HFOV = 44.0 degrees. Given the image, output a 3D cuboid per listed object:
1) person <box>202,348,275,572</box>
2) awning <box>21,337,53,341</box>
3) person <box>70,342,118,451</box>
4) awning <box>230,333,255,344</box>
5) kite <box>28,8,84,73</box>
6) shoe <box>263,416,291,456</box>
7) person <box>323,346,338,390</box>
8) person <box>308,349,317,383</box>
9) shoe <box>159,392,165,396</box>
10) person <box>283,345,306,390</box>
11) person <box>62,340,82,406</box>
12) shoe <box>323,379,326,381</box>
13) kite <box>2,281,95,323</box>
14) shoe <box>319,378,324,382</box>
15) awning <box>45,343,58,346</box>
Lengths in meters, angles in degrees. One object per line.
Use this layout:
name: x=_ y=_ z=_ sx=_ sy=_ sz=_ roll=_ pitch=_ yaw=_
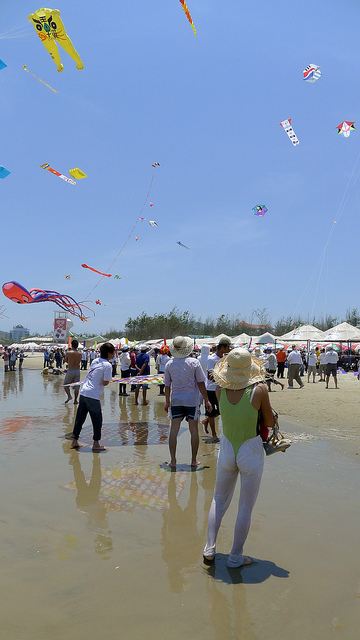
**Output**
person: x=0.419 y=1.002 z=3.247 sx=0.522 sy=1.580 sz=0.295 roll=0 pitch=-2 yaw=23
awning: x=-32.086 y=4.410 z=101.259 sx=5.926 sy=0.668 sz=10.583 roll=2 pitch=-3 yaw=-8
person: x=-1.405 y=1.187 z=7.230 sx=0.669 sy=1.649 sz=1.749 roll=1 pitch=-3 yaw=-9
awning: x=5.251 y=1.610 z=37.608 sx=1.450 sy=0.720 sz=1.511 roll=-3 pitch=-4 yaw=32
kite: x=-1.811 y=-4.051 z=6.506 sx=0.597 sy=0.666 sz=0.548 roll=0 pitch=-3 yaw=16
shoe: x=0.697 y=0.832 z=3.253 sx=0.172 sy=0.261 sz=0.264 roll=1 pitch=-3 yaw=10
person: x=5.712 y=1.777 z=16.851 sx=0.446 sy=1.567 sz=1.820 roll=0 pitch=-3 yaw=18
person: x=5.896 y=2.054 z=19.875 sx=0.313 sy=1.353 sz=2.715 roll=0 pitch=-3 yaw=16
shoe: x=-0.571 y=2.425 z=14.536 sx=0.096 sy=0.084 sz=0.343 roll=2 pitch=-3 yaw=-19
person: x=4.181 y=1.710 z=16.328 sx=0.619 sy=1.561 sz=0.596 roll=4 pitch=-7 yaw=6
person: x=-2.513 y=1.218 z=10.415 sx=0.458 sy=1.520 sz=0.392 roll=-5 pitch=-7 yaw=31
shoe: x=6.784 y=2.821 z=20.917 sx=0.069 sy=0.069 sz=0.123 roll=6 pitch=-31 yaw=13
kite: x=-4.701 y=-0.743 z=14.505 sx=2.529 sy=0.750 sz=0.703 roll=14 pitch=40 yaw=-6
shoe: x=6.399 y=2.727 z=20.111 sx=0.169 sy=0.195 sz=0.178 roll=-13 pitch=6 yaw=2
awning: x=-21.828 y=4.115 z=75.732 sx=1.303 sy=0.334 sz=1.282 roll=1 pitch=-9 yaw=-6
